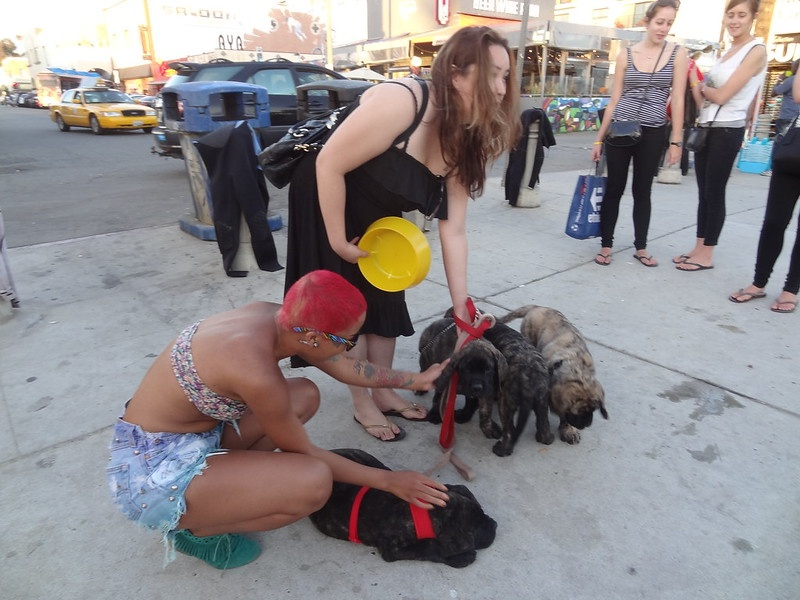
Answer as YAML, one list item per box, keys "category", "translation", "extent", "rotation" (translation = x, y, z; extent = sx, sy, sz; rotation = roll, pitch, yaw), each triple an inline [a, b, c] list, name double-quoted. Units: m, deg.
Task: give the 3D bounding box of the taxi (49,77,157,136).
- category: "taxi"
  translation: [-10.447, -6.612, 18.322]
  extent: [3.211, 1.442, 1.511]
  rotation: [12, 28, 29]

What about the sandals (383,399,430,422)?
- category: "sandals"
  translation: [0.025, 0.688, 3.240]
  extent: [0.305, 0.051, 0.102]
  rotation: [1, 17, 19]

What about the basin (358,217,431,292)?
- category: "basin"
  translation: [0.023, -0.244, 2.727]
  extent: [0.482, 0.352, 0.151]
  rotation: [4, 25, 26]

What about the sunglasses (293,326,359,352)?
- category: "sunglasses"
  translation: [-0.294, 0.185, 2.149]
  extent: [0.186, 0.037, 0.134]
  rotation: [22, -9, -30]

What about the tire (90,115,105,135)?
- category: "tire"
  translation: [-10.497, -6.010, 17.938]
  extent: [0.419, 0.601, 1.038]
  rotation: [-14, 26, -25]

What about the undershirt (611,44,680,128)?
- category: "undershirt"
  translation: [2.273, -2.078, 4.901]
  extent: [0.535, 0.561, 0.365]
  rotation: [9, 32, 13]

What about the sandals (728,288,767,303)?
- category: "sandals"
  translation: [3.034, -0.050, 4.513]
  extent: [0.317, 0.052, 0.136]
  rotation: [-6, 18, -11]

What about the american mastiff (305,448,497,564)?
- category: "american mastiff"
  translation: [-0.030, 0.958, 2.453]
  extent: [0.998, 0.246, 0.427]
  rotation: [14, 24, 4]

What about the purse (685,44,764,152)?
- category: "purse"
  translation: [3.007, -1.724, 4.722]
  extent: [0.739, 0.904, 0.284]
  rotation: [17, -10, -8]

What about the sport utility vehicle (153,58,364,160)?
- category: "sport utility vehicle"
  translation: [-2.615, -3.850, 9.778]
  extent: [4.474, 1.504, 2.432]
  rotation: [-14, 27, -29]

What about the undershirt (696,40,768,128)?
- category: "undershirt"
  translation: [3.007, -1.945, 4.669]
  extent: [0.437, 0.737, 0.531]
  rotation: [12, 29, 24]

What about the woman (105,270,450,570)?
- category: "woman"
  translation: [-0.470, 0.541, 2.410]
  extent: [1.749, 1.022, 0.845]
  rotation: [-7, 21, -6]

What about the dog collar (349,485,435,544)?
- category: "dog collar"
  translation: [-0.005, 0.947, 2.304]
  extent: [0.250, 0.083, 0.288]
  rotation: [-30, 68, -16]

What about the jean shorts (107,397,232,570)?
- category: "jean shorts"
  translation: [-0.982, 0.744, 2.214]
  extent: [0.459, 0.441, 0.365]
  rotation: [-8, 26, -15]

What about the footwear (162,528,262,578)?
- category: "footwear"
  translation: [-0.824, 1.097, 2.271]
  extent: [0.352, 0.096, 0.196]
  rotation: [5, 9, -6]
